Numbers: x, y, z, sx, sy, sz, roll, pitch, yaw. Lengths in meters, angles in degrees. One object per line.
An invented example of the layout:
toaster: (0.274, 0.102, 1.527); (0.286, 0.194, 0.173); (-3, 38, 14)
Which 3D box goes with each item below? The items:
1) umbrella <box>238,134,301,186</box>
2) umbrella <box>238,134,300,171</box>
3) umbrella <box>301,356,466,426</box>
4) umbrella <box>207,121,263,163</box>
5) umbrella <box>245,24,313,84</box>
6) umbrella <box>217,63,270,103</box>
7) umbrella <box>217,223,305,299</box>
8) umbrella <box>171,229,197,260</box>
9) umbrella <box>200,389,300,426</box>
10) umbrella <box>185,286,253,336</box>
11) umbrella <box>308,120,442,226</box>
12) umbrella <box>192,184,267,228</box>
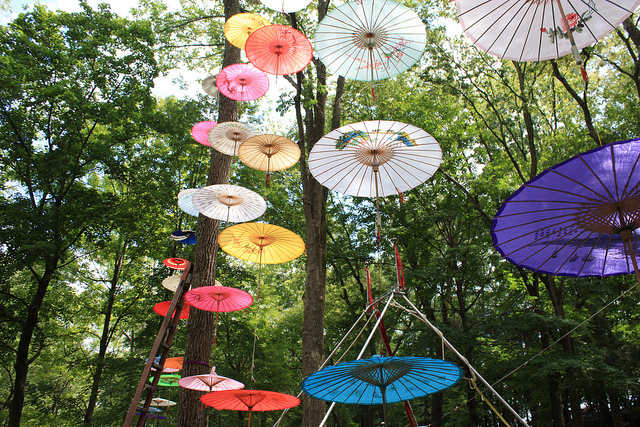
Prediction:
umbrella: (-2.105, -2.256, 31.606); (3.048, 2.589, 2.326); (2, -71, -4)
umbrella: (-2.010, -2.361, 30.819); (2.080, 0.643, 2.073); (-20, -46, 27)
umbrella: (1.968, 5.680, 26.353); (4.386, 2.124, 3.042); (0, -38, -4)
umbrella: (-3.438, -2.895, 31.926); (1.644, 1.383, 1.297); (-20, -33, -23)
umbrella: (-1.472, -6.467, 30.723); (2.791, 2.095, 1.920); (3, -63, 0)
umbrella: (-3.178, -5.503, 32.181); (2.035, 1.597, 1.457); (2, -62, -7)
umbrella: (-2.419, 1.725, 29.454); (3.381, 1.859, 2.672); (6, -24, 2)
umbrella: (-5.605, 1.042, 32.659); (0.989, 0.766, 0.753); (6, -47, -12)
umbrella: (-2.683, 7.089, 29.692); (3.473, 0.859, 1.196); (4, -42, 1)
umbrella: (-3.925, 3.470, 30.490); (2.820, 1.731, 2.091); (2, -44, -9)
umbrella: (2.127, -1.153, 27.210); (4.064, 3.043, 3.364); (-20, -29, 16)
umbrella: (-3.542, -0.456, 30.516); (2.811, 0.656, 2.269); (7, -28, -6)
